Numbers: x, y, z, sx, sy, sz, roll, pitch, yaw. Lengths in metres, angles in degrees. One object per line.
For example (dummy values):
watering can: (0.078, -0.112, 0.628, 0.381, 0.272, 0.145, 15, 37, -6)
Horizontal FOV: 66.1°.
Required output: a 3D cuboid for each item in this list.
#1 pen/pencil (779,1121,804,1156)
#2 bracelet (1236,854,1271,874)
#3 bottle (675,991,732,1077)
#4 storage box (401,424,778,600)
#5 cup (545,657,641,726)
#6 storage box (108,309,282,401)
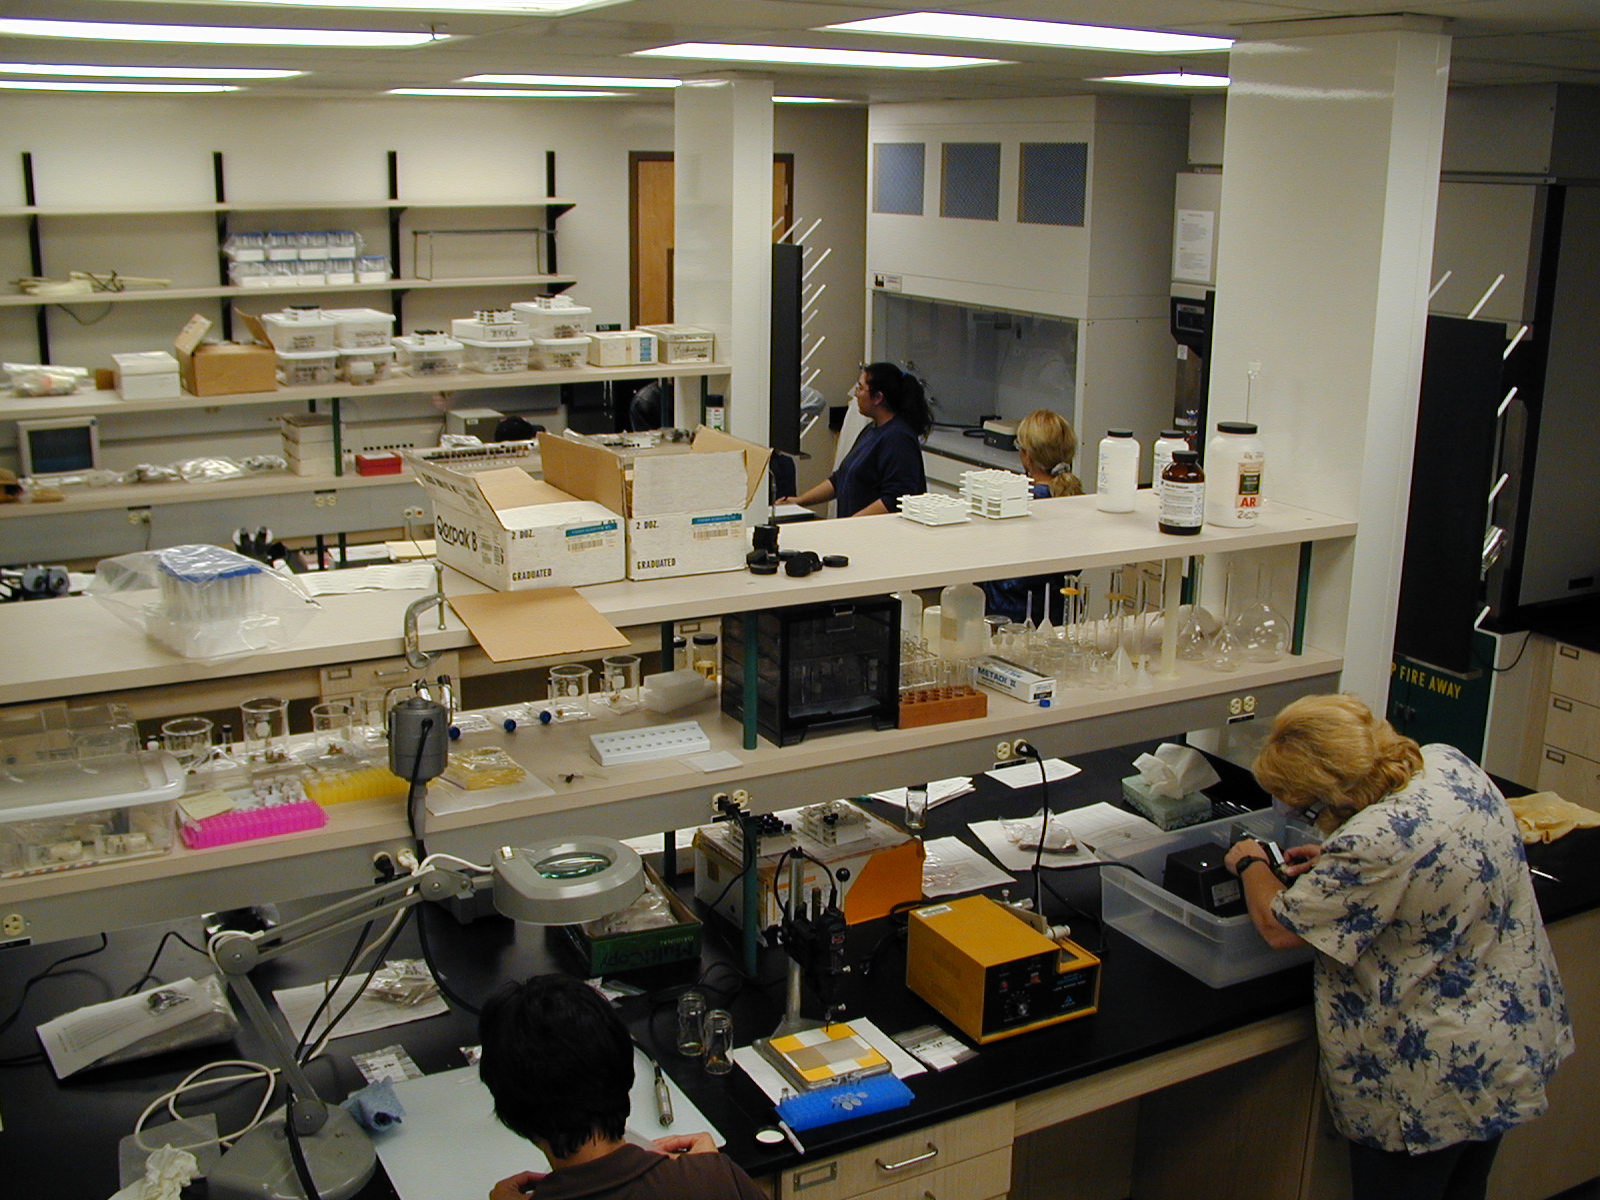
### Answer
pen/pencil: (-0.013, 0.948, 2.167, 0.018, 0.015, 0.086, -31, 32, -9)
bracelet: (0.937, 0.541, 2.542, 0.056, 0.033, 0.057, -31, -38, 24)
bottle: (-0.183, 0.828, 2.374, 0.143, 0.128, 0.078, 9, 14, 39)
storage box: (-0.445, -0.193, 2.706, 0.554, 0.238, 0.547, -5, 12, -29)
cup: (-0.505, 0.240, 3.006, 0.211, 0.082, 0.152, -10, 20, -29)
storage box: (-2.516, -0.963, 5.135, 0.482, 0.292, 0.474, -5, 12, -27)
